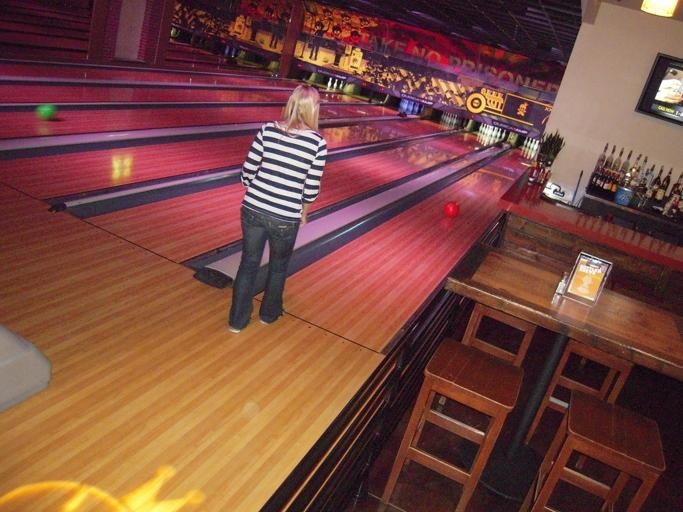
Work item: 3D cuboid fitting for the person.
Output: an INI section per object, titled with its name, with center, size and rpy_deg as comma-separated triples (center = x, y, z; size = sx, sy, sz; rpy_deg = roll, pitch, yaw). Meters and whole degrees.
[person]
center = -0.302, -0.179, 1.920
size = 0.339, 1.157, 0.234
rpy_deg = 5, 25, -16

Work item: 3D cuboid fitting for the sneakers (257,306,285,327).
[sneakers]
center = -0.365, 0.310, 2.167
size = 0.058, 0.059, 0.148
rpy_deg = 18, 22, 20
